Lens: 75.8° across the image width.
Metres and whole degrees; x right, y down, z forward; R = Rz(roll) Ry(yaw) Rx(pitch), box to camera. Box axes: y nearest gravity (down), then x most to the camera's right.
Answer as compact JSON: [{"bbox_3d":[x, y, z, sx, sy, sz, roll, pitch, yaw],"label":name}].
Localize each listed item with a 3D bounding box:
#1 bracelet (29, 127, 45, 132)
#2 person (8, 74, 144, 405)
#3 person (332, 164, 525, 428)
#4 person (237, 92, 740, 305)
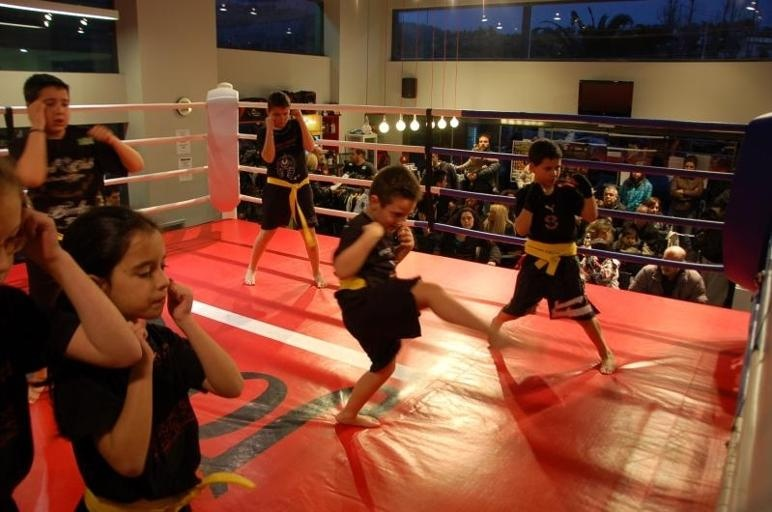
[{"bbox_3d":[-1.906,-0.687,2.704,0.062,0.021,0.047,-5,18,-23],"label":"bracelet"},{"bbox_3d":[-1.998,-0.182,3.066,0.477,1.750,0.631,23,23,23],"label":"person"},{"bbox_3d":[0.095,0.229,2.371,0.671,1.285,0.398,5,17,12],"label":"person"},{"bbox_3d":[1.382,-0.722,5.498,3.906,1.085,0.601,15,20,37],"label":"person"}]
